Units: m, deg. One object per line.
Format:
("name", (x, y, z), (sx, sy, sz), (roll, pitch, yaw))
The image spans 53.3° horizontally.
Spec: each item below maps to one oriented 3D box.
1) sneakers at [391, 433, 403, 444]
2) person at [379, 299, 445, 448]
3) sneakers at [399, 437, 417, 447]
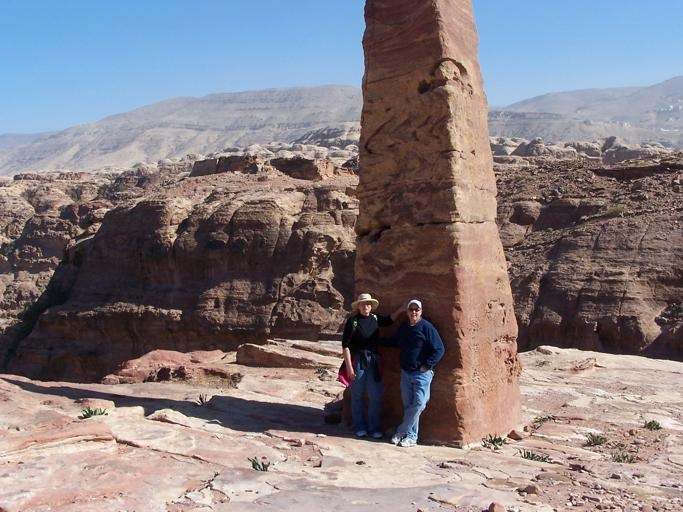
("sneakers", (0.662, 2.192, 8.212), (0.125, 0.044, 0.131), (-2, 26, 18))
("person", (0.920, 1.407, 8.247), (0.583, 1.571, 0.323), (3, 1, 10))
("sneakers", (0.798, 2.229, 8.180), (0.231, 0.090, 0.173), (2, 1, -4))
